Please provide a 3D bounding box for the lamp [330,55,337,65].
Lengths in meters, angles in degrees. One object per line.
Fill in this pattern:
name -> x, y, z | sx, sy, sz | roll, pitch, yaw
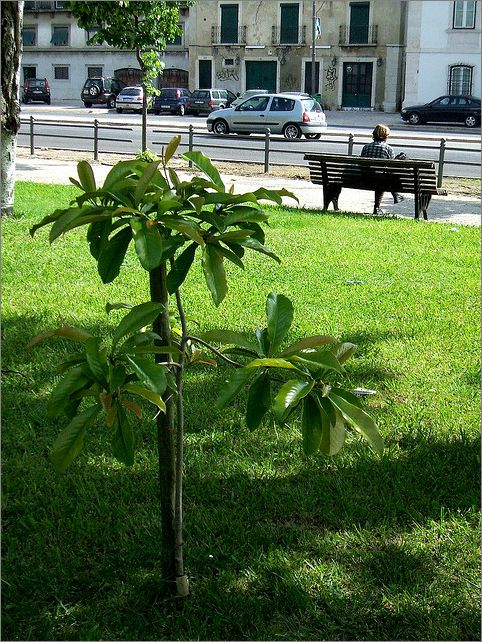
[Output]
lamp -> 5.352, -14.916, 47.280 | 0.359, 0.448, 0.108 | 5, 10, 25

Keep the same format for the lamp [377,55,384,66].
lamp -> 7.802, -14.523, 46.133 | 0.350, 0.520, 0.145 | 0, 9, -7

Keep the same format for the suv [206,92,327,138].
suv -> 0.828, -6.683, 27.103 | 3.719, 1.432, 0.985 | 6, 10, 27

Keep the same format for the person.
person -> 2.102, -2.262, 12.312 | 0.554, 1.402, 0.884 | 3, 22, 19

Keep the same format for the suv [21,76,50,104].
suv -> -12.919, -14.459, 51.972 | 1.444, 1.565, 2.361 | -2, 9, -19

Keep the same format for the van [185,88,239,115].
van -> -1.242, -11.439, 42.481 | 1.528, 1.056, 2.613 | 11, 33, 28

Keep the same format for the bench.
bench -> 1.841, -1.875, 11.555 | 1.839, 0.833, 0.650 | 9, 15, 27

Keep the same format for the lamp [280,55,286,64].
lamp -> 2.513, -15.482, 48.894 | 0.261, 0.430, 0.176 | 2, -1, 12
